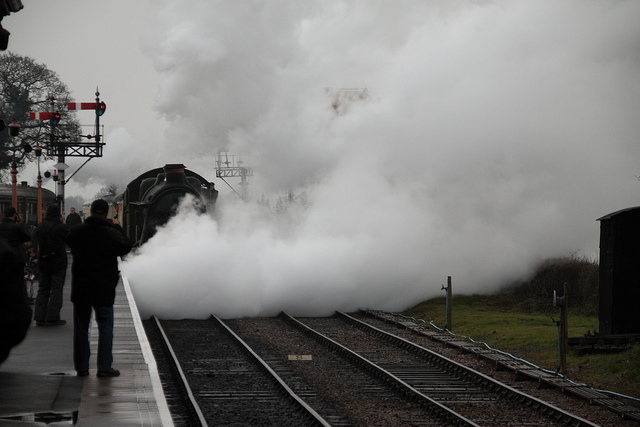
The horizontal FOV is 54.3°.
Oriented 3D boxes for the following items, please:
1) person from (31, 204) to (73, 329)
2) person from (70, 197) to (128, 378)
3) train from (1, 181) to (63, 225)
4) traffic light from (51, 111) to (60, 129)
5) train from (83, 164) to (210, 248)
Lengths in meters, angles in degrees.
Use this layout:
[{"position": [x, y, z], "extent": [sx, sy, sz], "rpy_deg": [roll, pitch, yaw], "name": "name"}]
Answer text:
[{"position": [-5.467, 1.064, 12.690], "extent": [0.588, 2.524, 1.008], "rpy_deg": [0, 1, -26], "name": "person"}, {"position": [-3.283, 1.227, 9.241], "extent": [0.736, 2.390, 0.319], "rpy_deg": [0, 2, -24], "name": "person"}, {"position": [-18.055, -0.860, 38.504], "extent": [2.684, 2.793, 11.325], "rpy_deg": [0, 0, -16], "name": "train"}, {"position": [-11.129, -3.981, 26.528], "extent": [0.509, 0.755, 0.188], "rpy_deg": [10, 4, 33], "name": "traffic light"}, {"position": [-8.540, -0.476, 29.820], "extent": [3.652, 5.037, 13.019], "rpy_deg": [-1, 0, -18], "name": "train"}]
